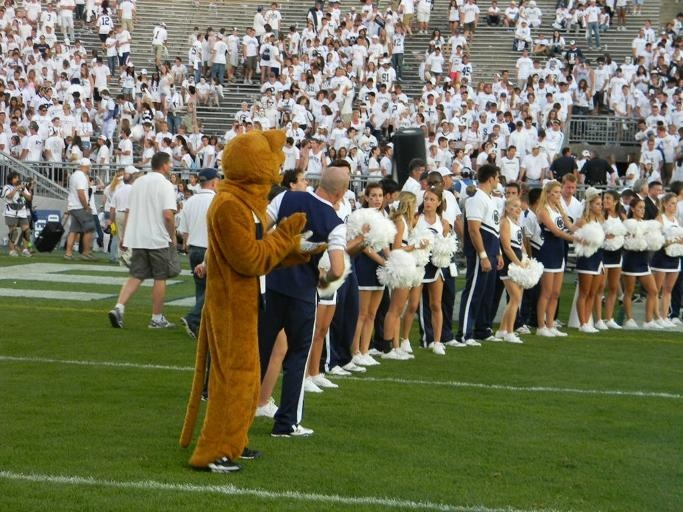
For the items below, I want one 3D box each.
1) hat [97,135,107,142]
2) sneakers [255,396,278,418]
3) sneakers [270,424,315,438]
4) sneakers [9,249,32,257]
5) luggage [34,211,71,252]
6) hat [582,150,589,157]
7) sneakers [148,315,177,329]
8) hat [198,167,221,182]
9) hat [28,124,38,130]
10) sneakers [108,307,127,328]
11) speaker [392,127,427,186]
[{"bbox_3d":[-5.445,-2.707,26.128,0.258,0.110,0.359,7,3,-29],"label":"hat"},{"bbox_3d":[-0.799,1.662,12.591,0.305,0.137,0.134,-1,1,10],"label":"sneakers"},{"bbox_3d":[-0.526,1.790,11.969,0.413,0.200,0.163,-1,3,-3],"label":"sneakers"},{"bbox_3d":[-6.658,-0.065,23.719,0.495,0.221,0.186,-2,2,0],"label":"sneakers"},{"bbox_3d":[-6.204,-0.506,24.637,0.675,0.670,1.112,6,-16,-25],"label":"luggage"},{"bbox_3d":[5.598,-2.376,26.146,0.188,0.149,0.276,0,-1,-3],"label":"hat"},{"bbox_3d":[-2.531,0.931,16.274,0.401,0.190,0.162,0,1,-15],"label":"sneakers"},{"bbox_3d":[-1.761,-1.109,15.469,0.182,0.135,0.258,4,17,14],"label":"hat"},{"bbox_3d":[-7.136,-3.048,26.684,0.169,0.172,0.196,-3,13,-29],"label":"hat"},{"bbox_3d":[-3.151,0.880,16.028,0.135,0.173,0.355,1,-41,19],"label":"sneakers"},{"bbox_3d":[1.120,-1.636,18.916,0.533,0.966,0.530,3,11,1],"label":"speaker"}]
